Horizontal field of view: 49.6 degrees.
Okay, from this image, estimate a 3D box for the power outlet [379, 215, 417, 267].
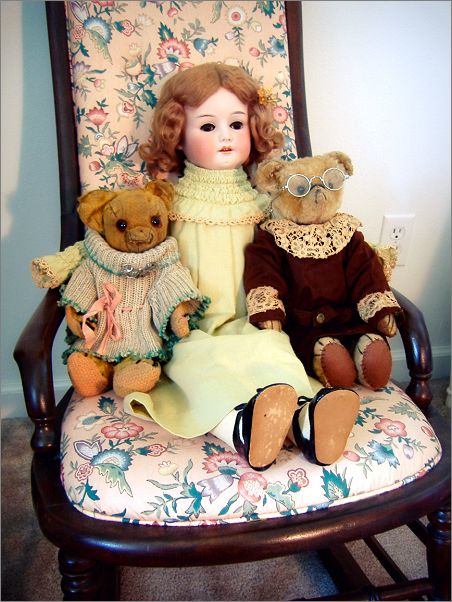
[{"bbox_3d":[0.548,-0.204,1.631,0.119,0.157,0.132,-12,29,-26],"label":"power outlet"}]
